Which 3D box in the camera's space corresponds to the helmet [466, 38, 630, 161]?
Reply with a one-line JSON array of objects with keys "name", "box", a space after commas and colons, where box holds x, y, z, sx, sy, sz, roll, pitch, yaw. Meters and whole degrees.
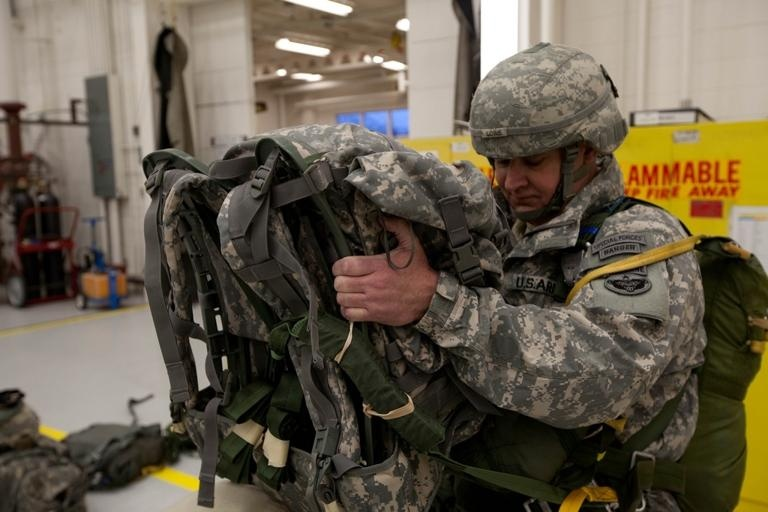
[{"name": "helmet", "box": [0.817, -0.670, 3.756, 0.610, 0.414, 0.585, -34, 29, -23]}]
